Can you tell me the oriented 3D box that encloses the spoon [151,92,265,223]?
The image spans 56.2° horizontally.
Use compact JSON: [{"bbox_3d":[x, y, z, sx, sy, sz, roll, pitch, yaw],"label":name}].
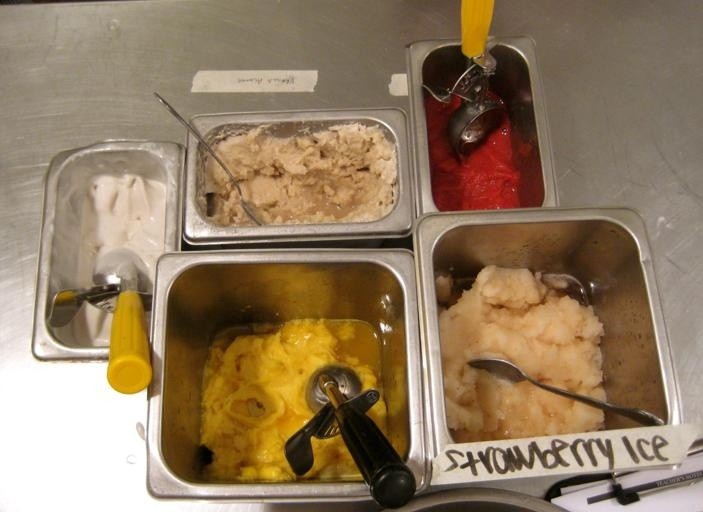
[{"bbox_3d":[-0.403,-0.256,1.847,0.457,0.062,0.083,51,42,-22],"label":"spoon"}]
